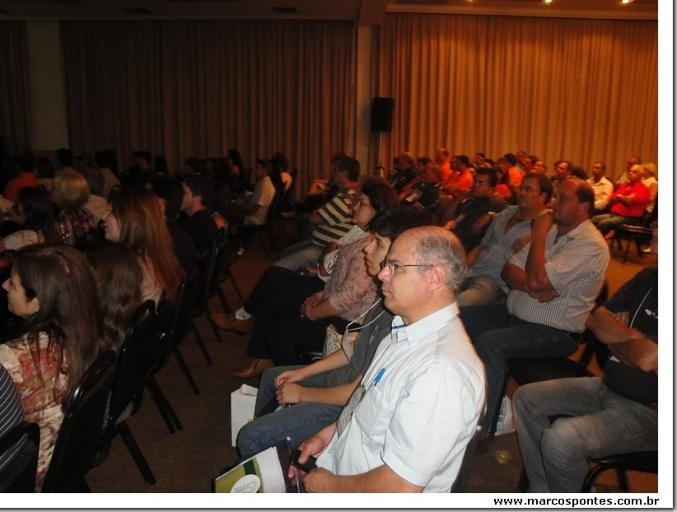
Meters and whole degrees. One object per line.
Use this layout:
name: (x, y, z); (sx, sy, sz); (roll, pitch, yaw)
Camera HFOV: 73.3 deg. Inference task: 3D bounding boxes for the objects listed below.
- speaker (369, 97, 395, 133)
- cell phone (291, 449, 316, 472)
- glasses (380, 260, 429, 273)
speaker: (0.924, -3.033, 9.686); (0.449, 0.685, 0.344); (-3, 13, -1)
cell phone: (-0.119, 0.687, 1.529); (0.067, 0.017, 0.051); (29, 25, 12)
glasses: (0.197, 0.032, 1.357); (0.136, 0.033, 0.035); (5, 15, 32)
